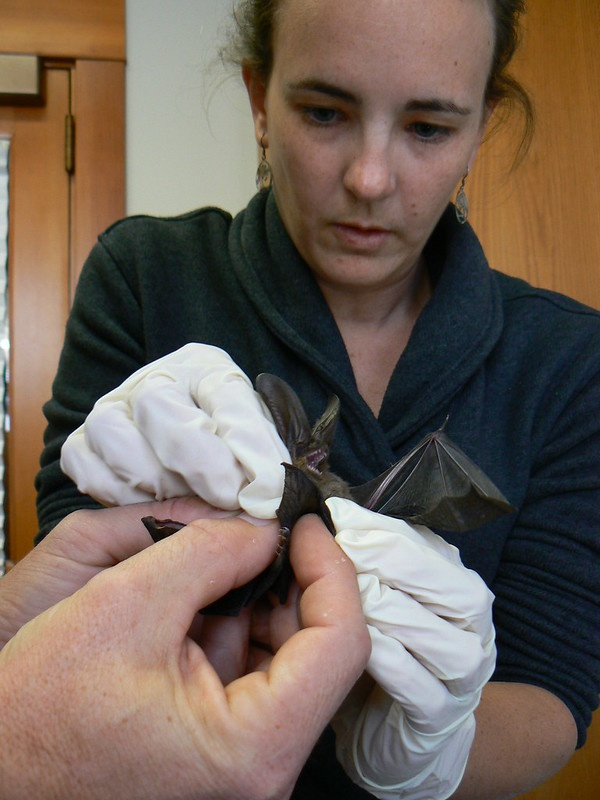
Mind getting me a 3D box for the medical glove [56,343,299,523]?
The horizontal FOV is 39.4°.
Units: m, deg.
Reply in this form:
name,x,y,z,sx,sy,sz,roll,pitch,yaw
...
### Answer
name,x,y,z,sx,sy,sz,roll,pitch,yaw
medical glove,-0.099,0.025,0.707,0.196,0.135,0.124,5,11,9
